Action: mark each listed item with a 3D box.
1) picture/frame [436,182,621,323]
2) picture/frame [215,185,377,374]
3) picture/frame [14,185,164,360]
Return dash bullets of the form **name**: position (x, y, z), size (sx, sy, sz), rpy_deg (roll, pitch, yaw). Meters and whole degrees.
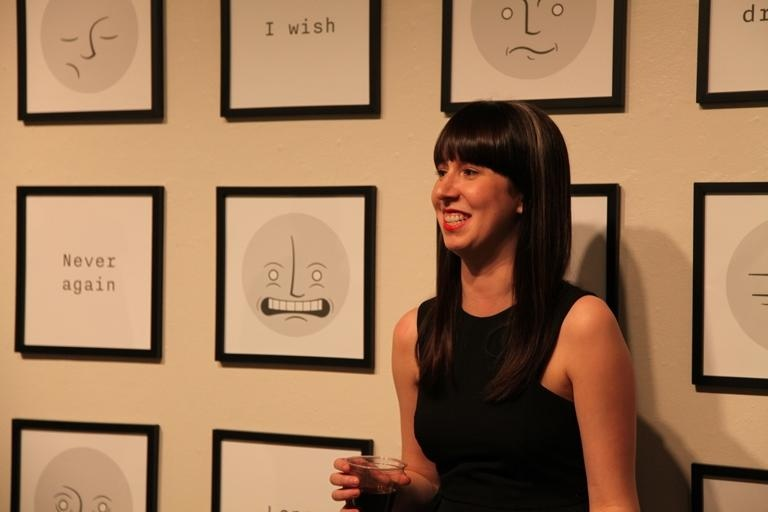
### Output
- **picture/frame**: position (0.343, -0.010, 2.138), size (0.320, 0.312, 0.017), rpy_deg (3, 0, 7)
- **picture/frame**: position (-0.223, 0.064, 2.454), size (0.473, 0.560, 0.025), rpy_deg (0, -3, 8)
- **picture/frame**: position (-0.832, 0.043, 2.533), size (0.451, 0.566, 0.037), rpy_deg (0, -3, 7)
